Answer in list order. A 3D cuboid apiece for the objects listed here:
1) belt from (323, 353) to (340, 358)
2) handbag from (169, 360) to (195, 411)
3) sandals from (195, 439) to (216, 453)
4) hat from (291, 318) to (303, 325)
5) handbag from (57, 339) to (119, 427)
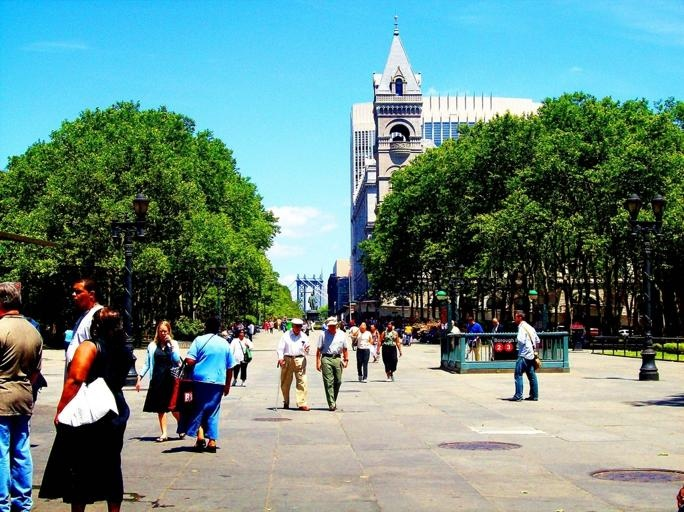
[{"bbox_3d":[-0.211,2.334,20.841,0.492,0.097,0.228,4,-8,-36],"label":"belt"},{"bbox_3d":[-2.697,2.207,15.101,0.330,0.865,0.760,2,-6,-20],"label":"handbag"},{"bbox_3d":[-2.223,3.109,14.553,0.168,0.146,0.336,1,-1,-3],"label":"sandals"},{"bbox_3d":[-1.051,1.553,21.079,0.426,0.163,0.481,1,-8,-4],"label":"hat"},{"bbox_3d":[-2.899,1.490,10.315,0.678,0.919,0.489,-15,-27,38],"label":"handbag"}]
